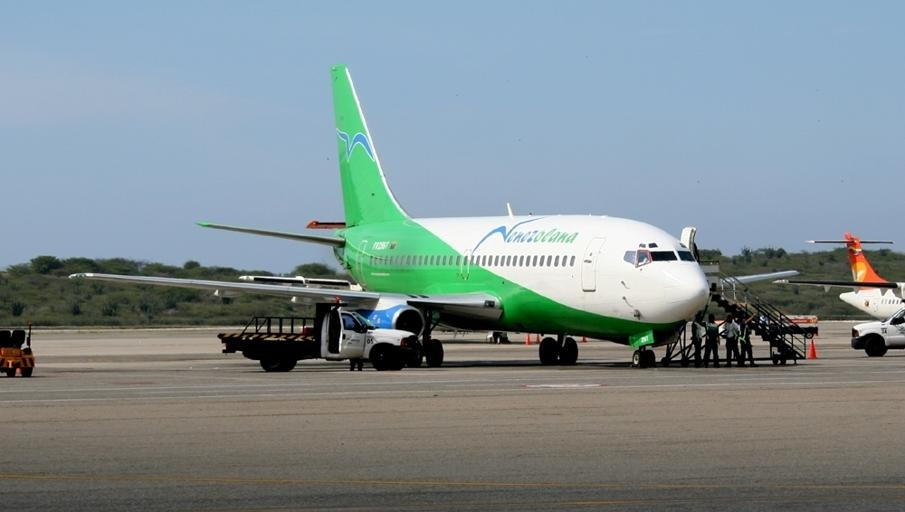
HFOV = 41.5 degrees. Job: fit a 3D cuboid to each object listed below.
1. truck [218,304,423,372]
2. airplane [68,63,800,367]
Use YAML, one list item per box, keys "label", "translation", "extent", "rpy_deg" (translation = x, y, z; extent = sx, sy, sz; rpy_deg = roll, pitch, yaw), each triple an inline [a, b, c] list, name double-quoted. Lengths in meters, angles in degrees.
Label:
- label: "truck"
  translation: [-4.763, 3.218, 44.484]
  extent: [7.084, 1.916, 3.116]
  rpy_deg: [0, 0, -3]
- label: "airplane"
  translation: [-1.106, -2.733, 46.406]
  extent: [19.995, 14.194, 15.437]
  rpy_deg: [-4, -6, 32]
